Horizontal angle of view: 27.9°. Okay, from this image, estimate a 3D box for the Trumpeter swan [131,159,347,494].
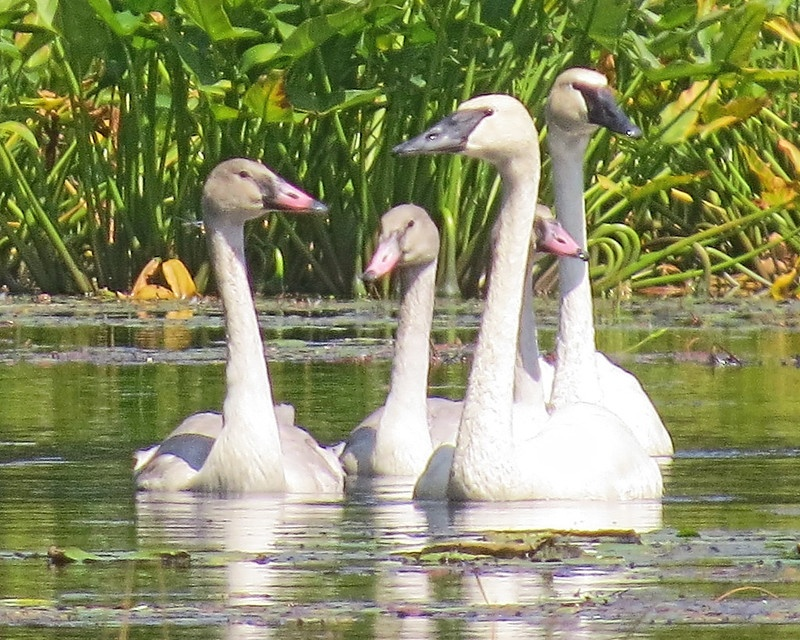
[{"bbox_3d":[-0.627,0.023,6.691,0.799,1.403,0.866,0,-1,-32],"label":"Trumpeter swan"}]
